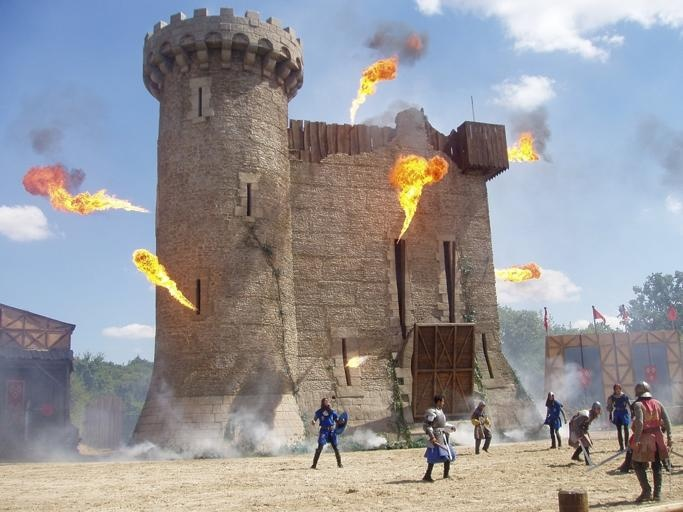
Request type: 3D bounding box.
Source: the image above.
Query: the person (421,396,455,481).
[{"bbox_3d":[2.986,5.632,24.858,0.936,2.597,0.617,1,-13,-15],"label":"person"}]

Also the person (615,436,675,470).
[{"bbox_3d":[8.787,5.614,23.494,1.285,1.046,1.015,-9,-6,14],"label":"person"}]

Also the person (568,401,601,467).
[{"bbox_3d":[8.288,6.073,27.305,1.066,2.019,0.974,-7,-14,18],"label":"person"}]
